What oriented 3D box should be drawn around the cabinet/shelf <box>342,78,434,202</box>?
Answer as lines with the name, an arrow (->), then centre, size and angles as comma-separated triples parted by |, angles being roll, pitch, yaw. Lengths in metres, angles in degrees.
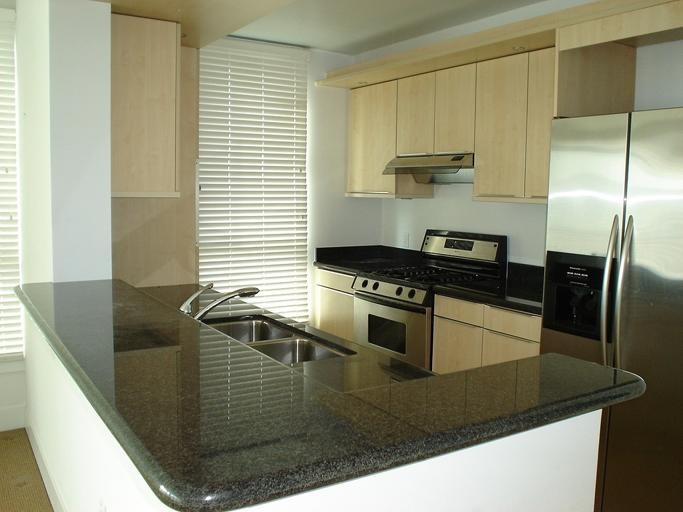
cabinet/shelf -> 0.437, -1.039, 4.650 | 0.433, 1.199, 1.083 | 1, 1, -32

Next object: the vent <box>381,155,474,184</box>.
vent -> 0.801, -0.718, 4.383 | 0.446, 0.262, 0.966 | -10, 15, -38

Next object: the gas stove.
gas stove -> 0.654, 0.258, 4.372 | 0.889, 0.256, 0.939 | -2, 7, -26

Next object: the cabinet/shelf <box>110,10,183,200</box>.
cabinet/shelf -> -1.139, -0.866, 3.087 | 0.436, 1.031, 0.181 | -4, 12, -18

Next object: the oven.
oven -> 0.554, 0.541, 4.387 | 0.542, 0.571, 0.874 | -3, 5, -36
